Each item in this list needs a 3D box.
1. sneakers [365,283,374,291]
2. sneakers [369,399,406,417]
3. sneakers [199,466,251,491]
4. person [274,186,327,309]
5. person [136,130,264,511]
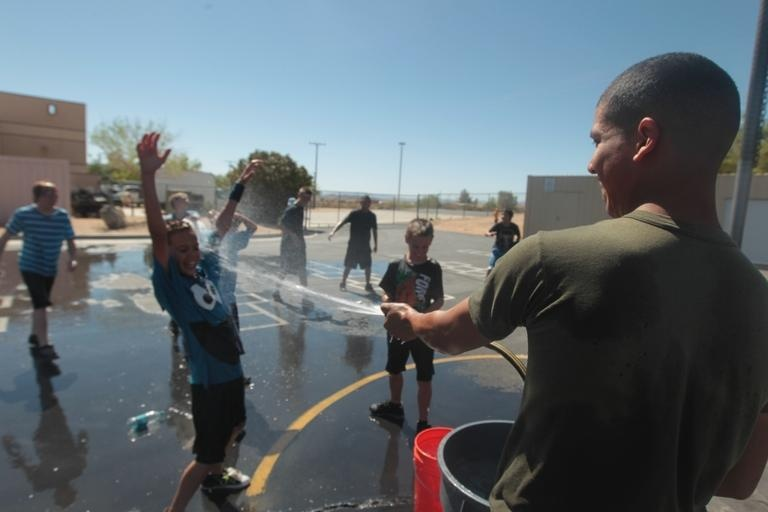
[{"bbox_3d":[-0.292,0.579,10.441,0.160,0.169,0.109,17,-19,-27],"label":"sneakers"},{"bbox_3d":[0.029,1.446,5.310,0.307,0.139,0.136,5,-4,8],"label":"sneakers"},{"bbox_3d":[-1.165,1.612,4.051,0.373,0.173,0.141,-1,3,-21],"label":"sneakers"},{"bbox_3d":[-1.579,-0.188,9.438,0.622,1.906,0.832,0,-2,-12],"label":"person"},{"bbox_3d":[-1.342,0.465,3.953,0.785,2.711,0.500,0,-2,-25],"label":"person"}]
